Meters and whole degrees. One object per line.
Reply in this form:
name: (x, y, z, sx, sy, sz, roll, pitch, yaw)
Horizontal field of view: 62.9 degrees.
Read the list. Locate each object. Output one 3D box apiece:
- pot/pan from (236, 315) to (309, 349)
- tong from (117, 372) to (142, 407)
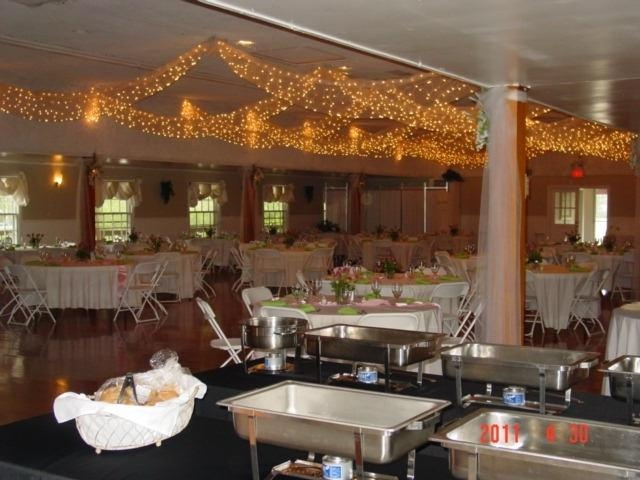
pot/pan: (-0.218, 0.499, 2.797, 0.229, 0.083, 0.247, -6, 8, -45)
tong: (-0.664, 0.529, 1.831, 0.087, 0.116, 0.084, -12, 18, -43)
